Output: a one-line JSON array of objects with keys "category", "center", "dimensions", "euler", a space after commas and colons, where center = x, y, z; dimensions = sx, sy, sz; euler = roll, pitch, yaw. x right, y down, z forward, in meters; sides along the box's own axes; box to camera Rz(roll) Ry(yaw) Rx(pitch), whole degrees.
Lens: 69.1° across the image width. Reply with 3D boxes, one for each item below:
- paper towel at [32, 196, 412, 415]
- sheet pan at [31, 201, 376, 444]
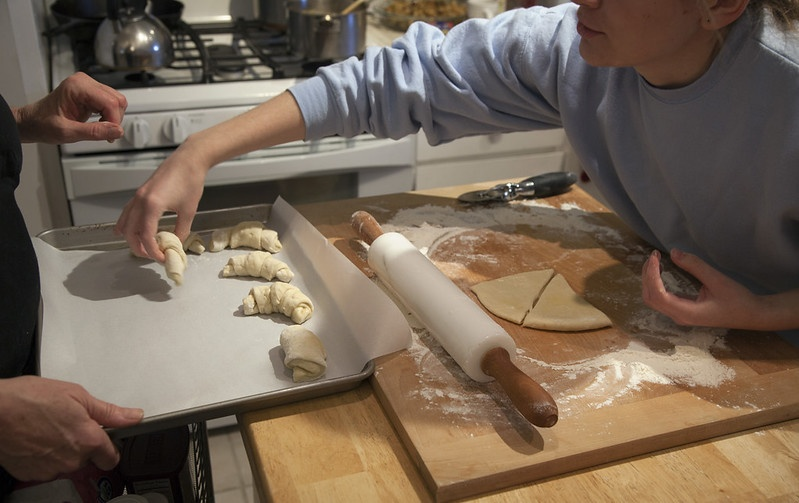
[{"category": "paper towel", "center": [-0.480, 0.174, 1.430], "dimensions": [0.616, 0.081, 0.586], "euler": [-11, 40, -20]}, {"category": "sheet pan", "center": [-0.466, 0.187, 1.410], "dimensions": [0.602, 0.064, 0.604], "euler": [-11, 41, -19]}]
